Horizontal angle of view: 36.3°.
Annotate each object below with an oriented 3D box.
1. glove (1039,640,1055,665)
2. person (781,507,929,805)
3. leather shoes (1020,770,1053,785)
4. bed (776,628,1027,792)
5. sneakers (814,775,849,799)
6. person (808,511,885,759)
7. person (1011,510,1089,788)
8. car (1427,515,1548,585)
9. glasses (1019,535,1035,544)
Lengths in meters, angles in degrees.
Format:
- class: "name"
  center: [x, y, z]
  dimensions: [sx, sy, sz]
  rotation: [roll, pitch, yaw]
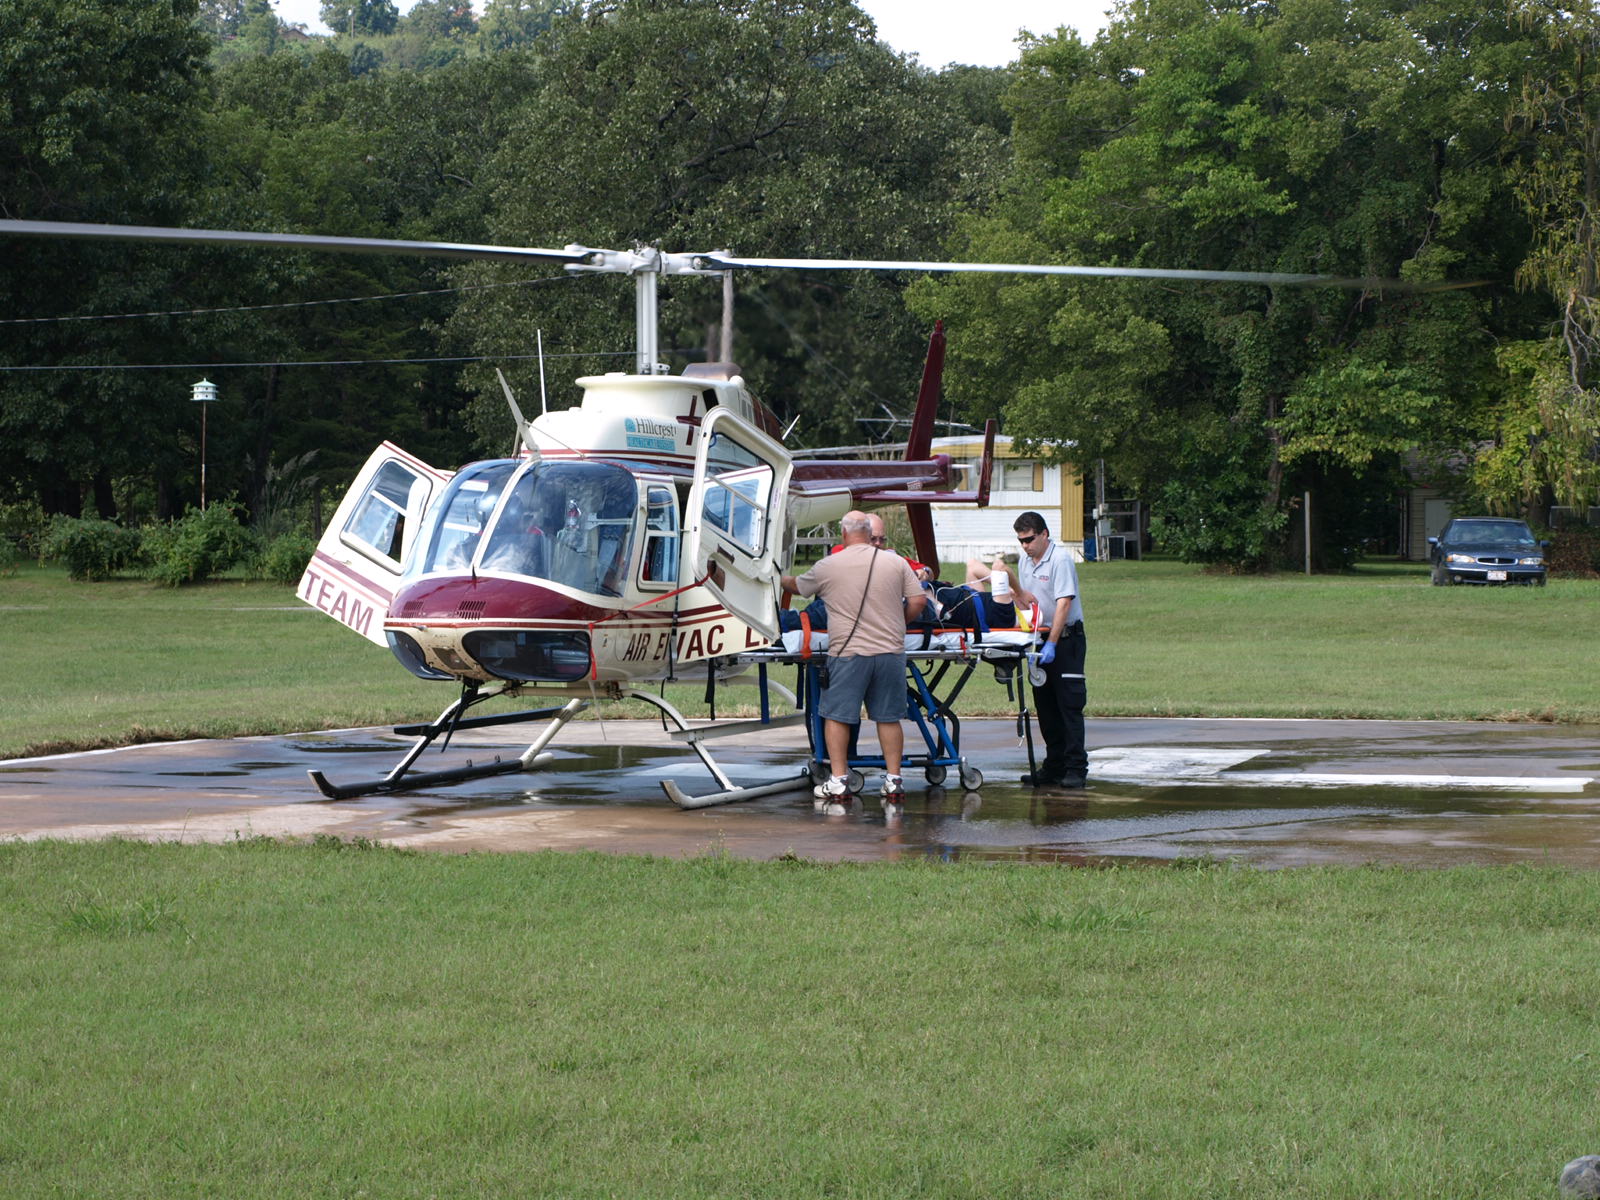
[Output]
- class: "glove"
  center: [2.043, 0.438, 20.401]
  dimensions: [0.063, 0.186, 0.138]
  rotation: [14, 2, -37]
- class: "person"
  center: [0.431, 0.480, 19.940]
  dimensions: [1.333, 2.200, 1.114]
  rotation: [0, -1, 9]
- class: "leather shoes"
  center: [2.060, 1.542, 21.064]
  dimensions: [0.277, 0.181, 0.095]
  rotation: [6, -6, -32]
- class: "bed"
  center: [0.960, 0.857, 20.996]
  dimensions: [1.826, 1.093, 1.526]
  rotation: [-1, 2, -1]
- class: "sneakers"
  center: [0.255, 1.517, 19.775]
  dimensions: [0.235, 0.236, 0.577]
  rotation: [0, -4, -5]
- class: "person"
  center: [0.504, 0.446, 19.657]
  dimensions: [0.881, 2.262, 0.316]
  rotation: [-1, 7, -2]
- class: "person"
  center: [2.133, 0.422, 20.742]
  dimensions: [0.640, 2.339, 0.757]
  rotation: [-1, 7, -3]
- class: "car"
  center: [12.324, -0.808, 43.742]
  dimensions: [1.551, 1.164, 2.374]
  rotation: [0, 6, 1]
- class: "glasses"
  center: [1.908, -0.517, 20.557]
  dimensions: [0.119, 0.075, 0.108]
  rotation: [0, 6, 5]
